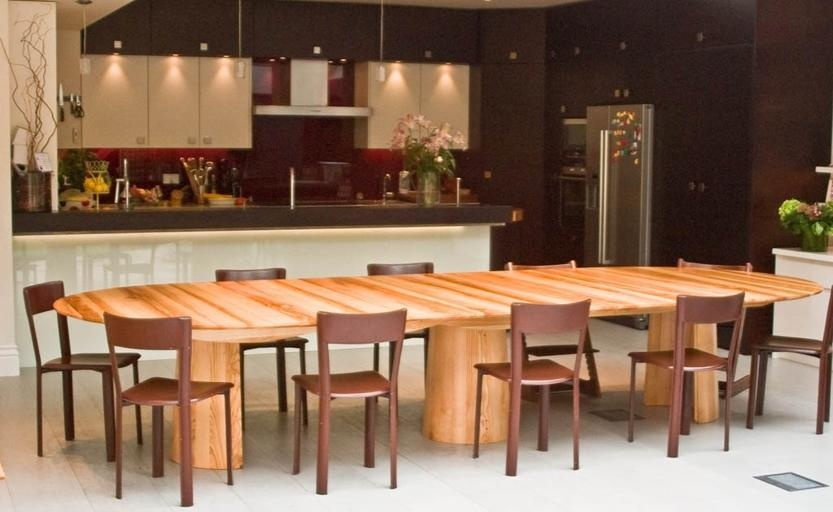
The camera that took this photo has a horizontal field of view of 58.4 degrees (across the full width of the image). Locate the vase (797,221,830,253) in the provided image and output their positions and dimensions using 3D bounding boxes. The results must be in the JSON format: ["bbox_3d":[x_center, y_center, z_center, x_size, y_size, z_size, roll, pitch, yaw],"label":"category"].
[{"bbox_3d":[4.056,-0.194,7.685,0.328,0.331,0.311,-1,3,-12],"label":"vase"}]

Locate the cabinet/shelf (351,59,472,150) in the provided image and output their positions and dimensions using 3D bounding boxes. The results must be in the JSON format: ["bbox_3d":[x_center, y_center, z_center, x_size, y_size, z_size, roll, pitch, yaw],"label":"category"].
[{"bbox_3d":[0.201,-2.128,10.855,0.522,1.335,1.476,-28,23,-16],"label":"cabinet/shelf"}]

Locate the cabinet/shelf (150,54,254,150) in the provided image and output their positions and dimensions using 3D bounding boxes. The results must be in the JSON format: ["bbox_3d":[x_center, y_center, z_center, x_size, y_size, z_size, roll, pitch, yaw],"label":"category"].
[{"bbox_3d":[-2.959,-2.014,9.731,1.430,1.122,0.503,-12,22,-42],"label":"cabinet/shelf"}]
